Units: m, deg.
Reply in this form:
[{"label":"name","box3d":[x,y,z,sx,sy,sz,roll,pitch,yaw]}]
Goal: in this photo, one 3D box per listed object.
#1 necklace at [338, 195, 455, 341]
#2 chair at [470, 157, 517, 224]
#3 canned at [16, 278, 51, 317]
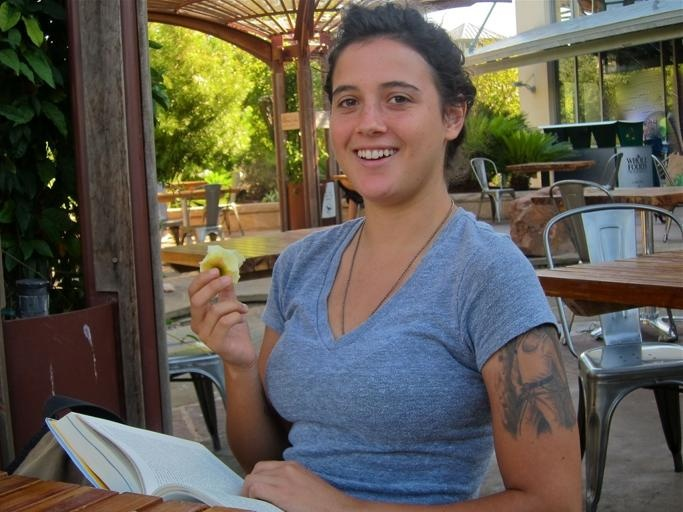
[{"label":"necklace","box3d":[0.121,0.039,1.525,0.197,0.448,0.065,8,-11,34]},{"label":"chair","box3d":[2.726,-1.199,10.866,0.602,1.170,0.679,-8,9,-33]},{"label":"canned","box3d":[-1.199,0.163,2.403,0.134,0.151,0.134,-5,10,-44]}]
